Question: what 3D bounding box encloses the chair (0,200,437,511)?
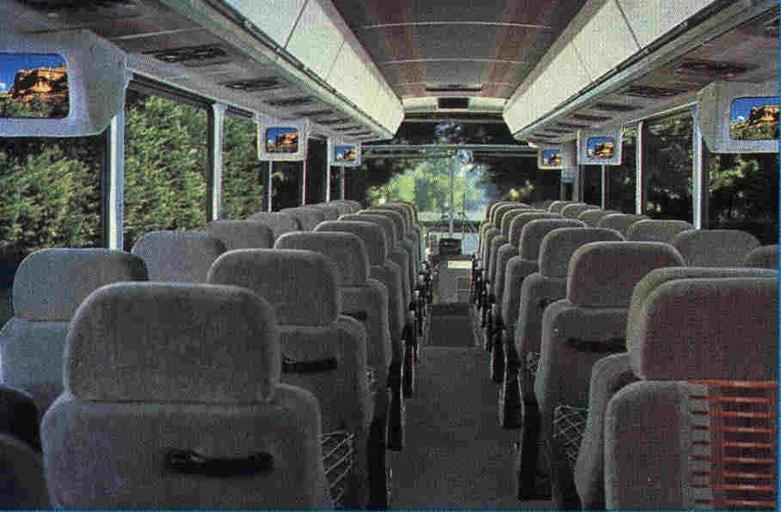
[{"bbox_3d":[-0.651,0.453,3.301,1.156,1.230,1.861,0,1,0],"label":"chair"}]
